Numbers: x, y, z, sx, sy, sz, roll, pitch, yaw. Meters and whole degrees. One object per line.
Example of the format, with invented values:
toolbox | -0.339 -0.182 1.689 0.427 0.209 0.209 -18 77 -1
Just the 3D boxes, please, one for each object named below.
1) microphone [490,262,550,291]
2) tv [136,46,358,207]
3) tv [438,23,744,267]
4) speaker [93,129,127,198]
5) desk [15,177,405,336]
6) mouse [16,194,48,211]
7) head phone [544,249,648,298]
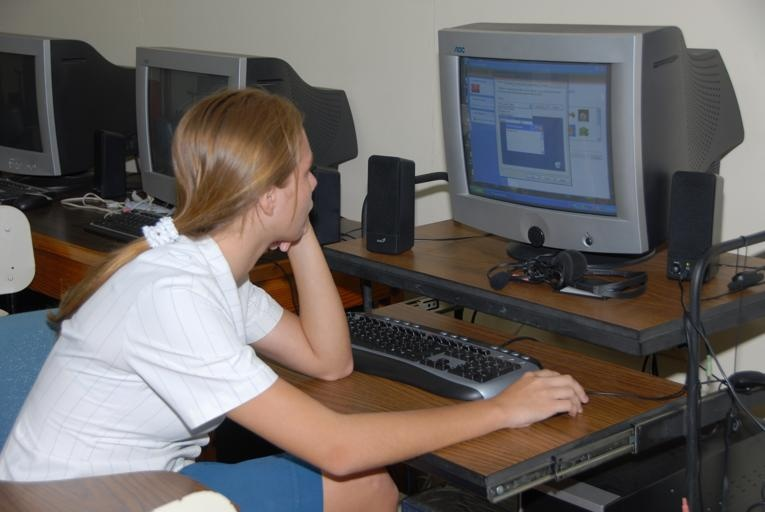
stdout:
microphone | 0.341 0.050 1.588 0.119 0.043 0.072 -14 17 -23
tv | -0.524 -0.584 2.538 0.745 0.550 0.630 -19 26 -42
tv | 0.649 -0.444 1.884 0.652 0.571 0.769 14 28 42
speaker | -1.253 -0.406 2.815 0.145 0.284 0.142 16 18 43
desk | -0.908 -0.023 2.319 0.531 0.450 0.940 -11 26 -40
mouse | -1.509 -0.228 2.636 0.057 0.035 0.107 7 15 28
head phone | 0.546 0.015 1.532 0.174 0.063 0.136 12 21 36
